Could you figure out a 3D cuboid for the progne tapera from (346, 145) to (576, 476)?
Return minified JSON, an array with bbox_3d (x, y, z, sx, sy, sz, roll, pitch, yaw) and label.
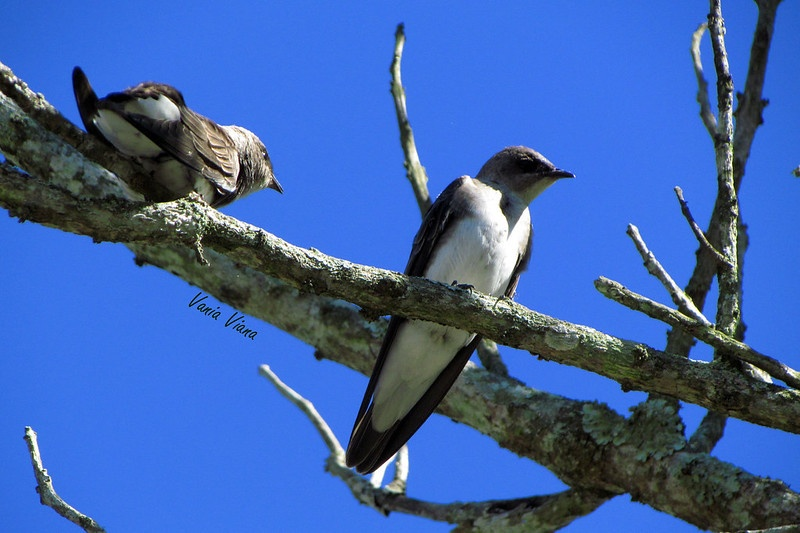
[{"bbox_3d":[0.426,0.534,9.996,0.724,0.940,2.360,31,-88,-20],"label":"progne tapera"}]
